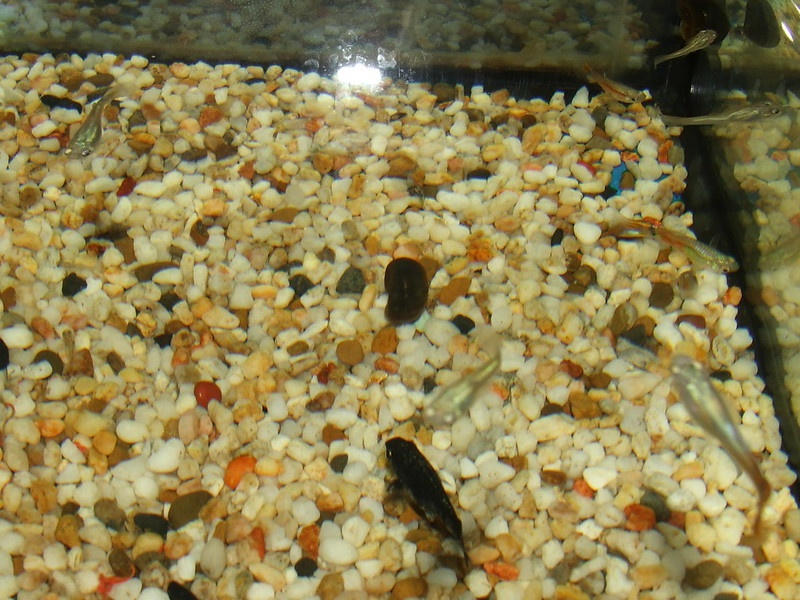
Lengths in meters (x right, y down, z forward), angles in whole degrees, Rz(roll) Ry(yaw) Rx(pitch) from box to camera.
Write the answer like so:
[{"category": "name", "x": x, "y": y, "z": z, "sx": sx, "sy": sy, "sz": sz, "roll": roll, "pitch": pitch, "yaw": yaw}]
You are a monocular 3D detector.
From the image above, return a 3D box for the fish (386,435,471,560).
[{"category": "fish", "x": 0.050, "y": 0.543, "z": 2.559, "sx": 0.165, "sy": 0.134, "sz": 0.444, "roll": -25, "pitch": 61, "yaw": -12}]

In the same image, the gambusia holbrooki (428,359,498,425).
[{"category": "gambusia holbrooki", "x": 0.182, "y": 0.260, "z": 2.429, "sx": 0.255, "sy": 0.119, "sz": 0.087, "roll": -40, "pitch": 80, "yaw": -9}]

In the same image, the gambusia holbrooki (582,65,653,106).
[{"category": "gambusia holbrooki", "x": 0.768, "y": -0.765, "z": 3.065, "sx": 0.056, "sy": 0.123, "sz": 0.249, "roll": -39, "pitch": 53, "yaw": -25}]
